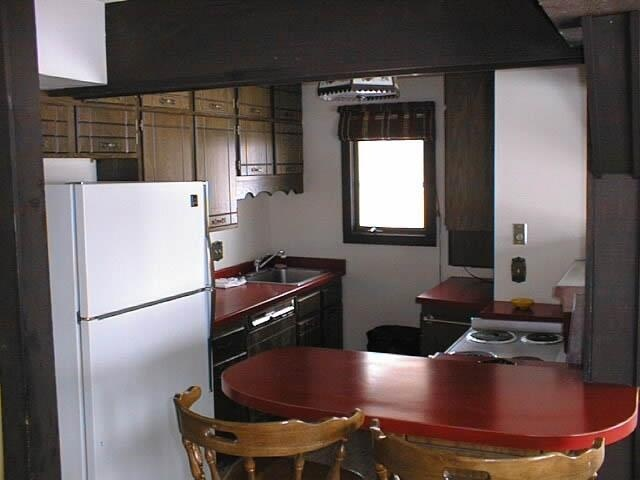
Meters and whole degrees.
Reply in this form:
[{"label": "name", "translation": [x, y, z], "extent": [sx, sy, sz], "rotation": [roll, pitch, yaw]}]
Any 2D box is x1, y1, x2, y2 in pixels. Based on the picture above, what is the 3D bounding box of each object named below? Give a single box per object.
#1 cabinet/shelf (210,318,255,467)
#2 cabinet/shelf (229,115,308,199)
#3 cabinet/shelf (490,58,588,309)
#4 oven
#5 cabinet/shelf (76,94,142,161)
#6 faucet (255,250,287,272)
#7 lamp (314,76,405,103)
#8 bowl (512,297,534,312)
[{"label": "cabinet/shelf", "translation": [-0.566, 0.937, 3.786], "extent": [0.343, 0.576, 0.307], "rotation": [-14, -38, 3]}, {"label": "cabinet/shelf", "translation": [-0.467, -0.747, 4.795], "extent": [0.308, 0.589, 0.857], "rotation": [6, 10, 37]}, {"label": "cabinet/shelf", "translation": [1.612, -0.578, 4.068], "extent": [0.584, 1.414, 0.496], "rotation": [1, 30, 20]}, {"label": "oven", "translation": [-0.471, 0.993, 4.331], "extent": [0.436, 0.778, 0.449], "rotation": [-4, 1, -29]}, {"label": "cabinet/shelf", "translation": [-1.227, -0.681, 3.447], "extent": [0.513, 0.326, 0.275], "rotation": [4, 6, 20]}, {"label": "faucet", "translation": [-0.512, 0.210, 5.354], "extent": [0.480, 0.191, 0.114], "rotation": [-12, -4, 29]}, {"label": "lamp", "translation": [0.217, -0.918, 3.271], "extent": [0.476, 0.114, 0.750], "rotation": [1, 6, 9]}, {"label": "bowl", "translation": [1.386, 0.452, 3.770], "extent": [0.131, 0.066, 0.152], "rotation": [2, 6, 20]}]
